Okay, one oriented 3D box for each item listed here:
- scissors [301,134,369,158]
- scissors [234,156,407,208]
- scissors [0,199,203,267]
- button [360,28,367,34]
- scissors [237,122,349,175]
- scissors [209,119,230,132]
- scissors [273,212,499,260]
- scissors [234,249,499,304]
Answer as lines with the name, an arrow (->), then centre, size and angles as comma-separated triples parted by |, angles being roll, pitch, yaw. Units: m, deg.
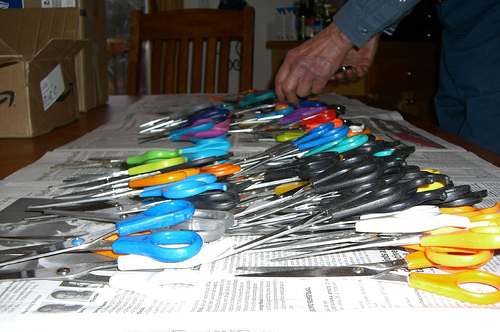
scissors -> 0.170, -0.041, 0.732 | 0.157, 0.013, 0.039 | -14, 13, -14
scissors -> 0.109, 0.010, 0.670 | 0.310, 0.030, 0.075 | 2, 37, 43
scissors -> -0.190, 0.086, 0.531 | 0.247, 0.068, 0.113 | -2, 19, -11
button -> 0.256, -0.304, 0.954 | 0.015, 0.010, 0.004 | 0, -3, 17
scissors -> 0.122, -0.028, 0.772 | 0.265, 0.019, 0.070 | -14, 20, 0
scissors -> -0.061, -0.089, 0.924 | 0.062, 0.013, 0.017 | -12, 27, -9
scissors -> 0.165, 0.085, 0.538 | 0.264, 0.025, 0.082 | -3, -12, 7
scissors -> 0.125, 0.136, 0.508 | 0.310, 0.011, 0.091 | 0, 21, 5
